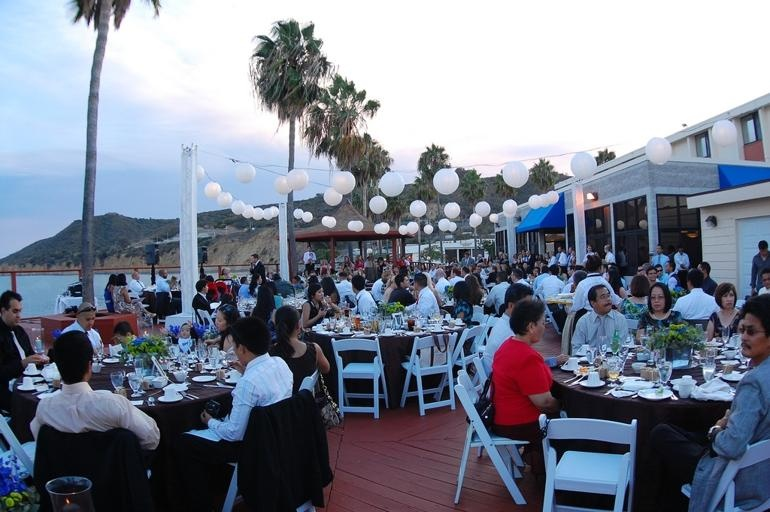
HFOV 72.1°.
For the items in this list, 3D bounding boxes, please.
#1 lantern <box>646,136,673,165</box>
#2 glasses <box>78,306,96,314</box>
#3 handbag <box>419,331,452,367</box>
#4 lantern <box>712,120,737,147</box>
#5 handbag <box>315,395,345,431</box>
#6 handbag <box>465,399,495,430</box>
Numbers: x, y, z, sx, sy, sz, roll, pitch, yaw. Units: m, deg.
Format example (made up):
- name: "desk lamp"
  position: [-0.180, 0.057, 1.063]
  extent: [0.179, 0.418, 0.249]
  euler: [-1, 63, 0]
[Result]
- name: "lantern"
  position: [6.624, -2.605, 12.930]
  extent: [0.507, 0.680, 0.430]
  euler: [-2, -1, -45]
- name: "glasses"
  position: [-4.418, 0.780, 7.855]
  extent: [0.145, 0.058, 0.141]
  euler: [-4, 2, -20]
- name: "handbag"
  position: [0.760, 1.536, 8.818]
  extent: [0.436, 0.546, 0.558]
  euler: [-1, 4, -15]
- name: "lantern"
  position: [7.907, -2.916, 12.419]
  extent: [0.427, 0.629, 0.878]
  euler: [-4, -1, 37]
- name: "handbag"
  position: [-0.732, 2.031, 6.845]
  extent: [0.183, 0.393, 0.441]
  euler: [-3, -1, 21]
- name: "handbag"
  position: [1.165, 1.914, 6.380]
  extent: [0.253, 0.392, 0.171]
  euler: [-4, -1, 37]
